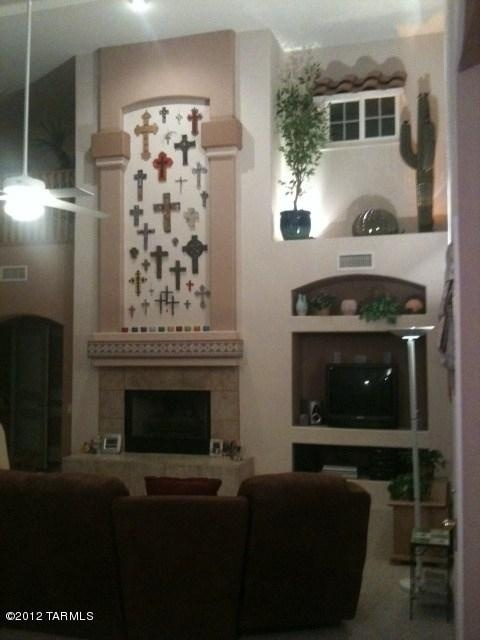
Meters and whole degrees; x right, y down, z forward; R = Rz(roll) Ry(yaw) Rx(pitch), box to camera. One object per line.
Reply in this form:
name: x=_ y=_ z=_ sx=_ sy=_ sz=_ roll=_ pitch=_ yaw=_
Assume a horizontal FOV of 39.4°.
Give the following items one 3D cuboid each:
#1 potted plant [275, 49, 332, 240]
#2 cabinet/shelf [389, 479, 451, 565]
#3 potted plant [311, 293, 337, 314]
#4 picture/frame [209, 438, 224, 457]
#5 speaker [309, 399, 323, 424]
potted plant: x=0.626 y=-1.781 z=6.934 sx=0.567 sy=1.878 sz=0.569 roll=2 pitch=0 yaw=8
cabinet/shelf: x=1.445 y=1.546 z=5.465 sx=0.424 sy=0.685 sz=0.636 roll=-1 pitch=-1 yaw=9
potted plant: x=0.844 y=-0.176 z=6.710 sx=0.185 sy=0.228 sz=0.189 roll=6 pitch=4 yaw=39
picture/frame: x=-0.235 y=1.271 z=6.716 sx=0.136 sy=0.208 sz=0.021 roll=-2 pitch=-27 yaw=7
speaker: x=0.737 y=0.916 z=6.599 sx=0.146 sy=0.373 sz=0.172 roll=0 pitch=-5 yaw=-4
